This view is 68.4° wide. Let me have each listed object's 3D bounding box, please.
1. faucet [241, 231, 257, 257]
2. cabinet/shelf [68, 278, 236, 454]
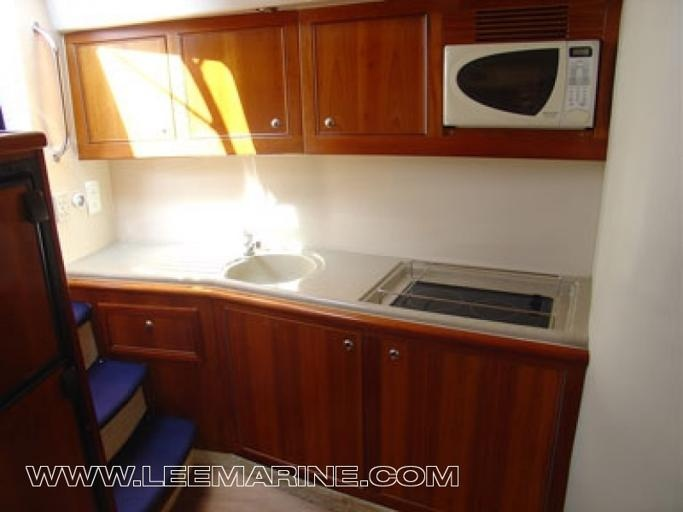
[{"bbox_3d":[-0.491,-0.084,2.687,0.077,0.153,0.101,-6,20,-11],"label":"faucet"},{"bbox_3d":[-0.873,0.480,2.337,0.777,0.758,0.307,2,15,11],"label":"cabinet/shelf"}]
